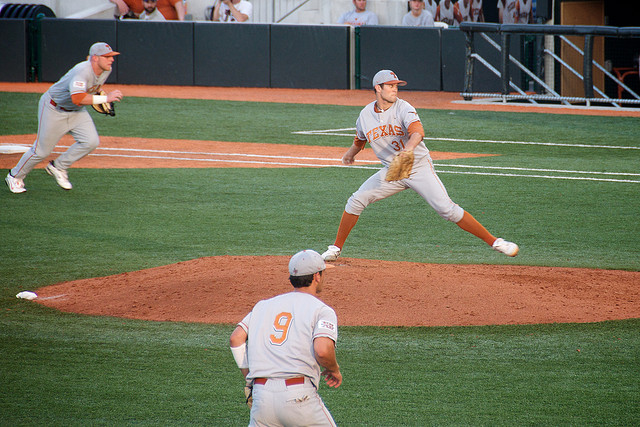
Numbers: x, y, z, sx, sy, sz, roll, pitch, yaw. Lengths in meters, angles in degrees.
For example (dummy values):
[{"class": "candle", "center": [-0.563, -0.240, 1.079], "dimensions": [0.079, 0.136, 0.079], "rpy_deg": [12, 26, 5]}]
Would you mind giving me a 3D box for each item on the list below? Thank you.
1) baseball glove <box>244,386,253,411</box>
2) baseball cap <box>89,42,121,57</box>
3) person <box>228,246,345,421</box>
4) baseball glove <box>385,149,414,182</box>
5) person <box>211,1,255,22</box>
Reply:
[{"class": "baseball glove", "center": [-0.819, 2.101, 13.790], "dimensions": [0.089, 0.223, 0.168], "rpy_deg": [6, 19, -2]}, {"class": "baseball cap", "center": [-3.549, -2.616, 19.622], "dimensions": [0.501, 0.234, 0.323], "rpy_deg": [2, 12, 0]}, {"class": "person", "center": [-0.361, 1.403, 13.656], "dimensions": [1.226, 1.840, 0.569], "rpy_deg": [2, 12, -2]}, {"class": "baseball glove", "center": [1.100, -0.648, 16.613], "dimensions": [0.376, 0.449, 0.145], "rpy_deg": [0, 12, -10]}, {"class": "person", "center": [-2.450, -5.478, 33.264], "dimensions": [1.086, 0.582, 1.321], "rpy_deg": [1, 12, -6]}]
